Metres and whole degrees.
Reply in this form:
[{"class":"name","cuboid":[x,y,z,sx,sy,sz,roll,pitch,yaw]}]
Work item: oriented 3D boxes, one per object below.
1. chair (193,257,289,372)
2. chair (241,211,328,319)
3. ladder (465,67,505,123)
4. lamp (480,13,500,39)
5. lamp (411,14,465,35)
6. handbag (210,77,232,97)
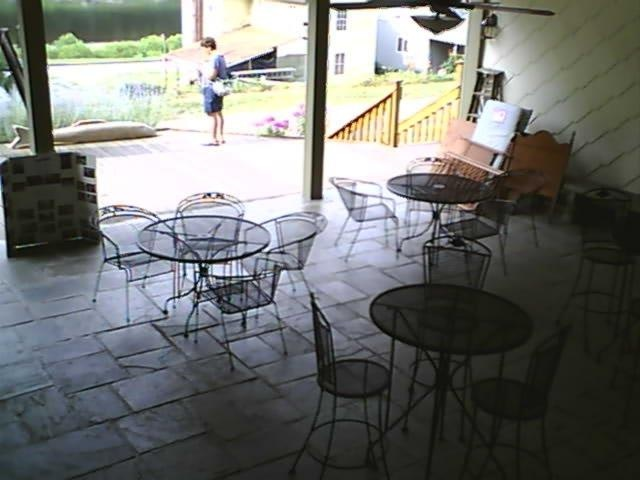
[{"class":"chair","cuboid":[-0.725,0.711,4.730,0.698,0.786,0.582,-17,49,-28]},{"class":"chair","cuboid":[-0.307,0.085,5.592,1.014,1.066,0.939,-7,35,-21]},{"class":"ladder","cuboid":[3.208,-2.826,10.197,0.482,1.003,0.601,-11,30,-24]},{"class":"lamp","cuboid":[3.266,-4.080,9.952,0.353,0.410,0.165,7,21,35]},{"class":"lamp","cuboid":[1.081,-1.989,4.807,0.457,0.168,0.378,5,25,6]},{"class":"handbag","cuboid":[-1.954,-2.986,10.229,0.278,0.329,0.314,6,26,8]}]
